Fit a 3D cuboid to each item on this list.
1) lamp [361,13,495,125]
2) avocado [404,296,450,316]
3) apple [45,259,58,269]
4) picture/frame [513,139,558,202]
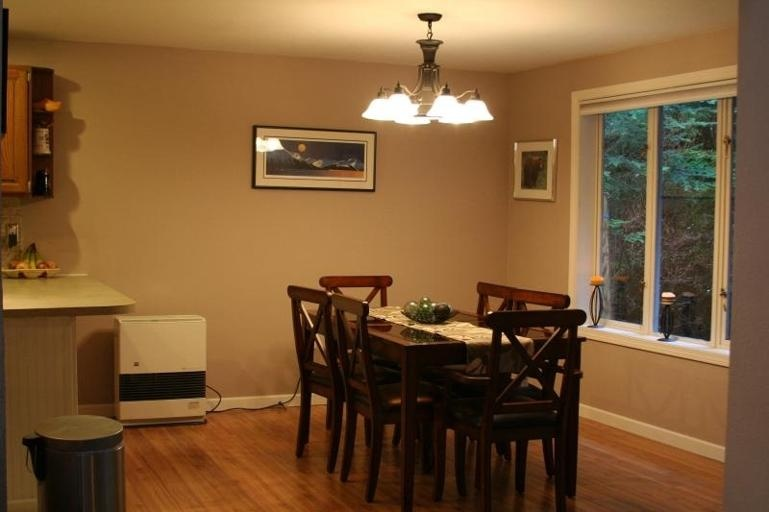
[{"bbox_3d":[0.311,-1.278,4.294,0.833,0.657,0.805,5,17,15],"label":"lamp"},{"bbox_3d":[0.294,0.346,4.460,0.238,0.091,0.144,0,-2,34],"label":"avocado"},{"bbox_3d":[-2.650,0.061,5.116,0.101,0.037,0.099,4,16,-19],"label":"apple"},{"bbox_3d":[1.448,-0.828,6.184,0.106,0.570,0.531,-3,8,-26],"label":"picture/frame"}]
